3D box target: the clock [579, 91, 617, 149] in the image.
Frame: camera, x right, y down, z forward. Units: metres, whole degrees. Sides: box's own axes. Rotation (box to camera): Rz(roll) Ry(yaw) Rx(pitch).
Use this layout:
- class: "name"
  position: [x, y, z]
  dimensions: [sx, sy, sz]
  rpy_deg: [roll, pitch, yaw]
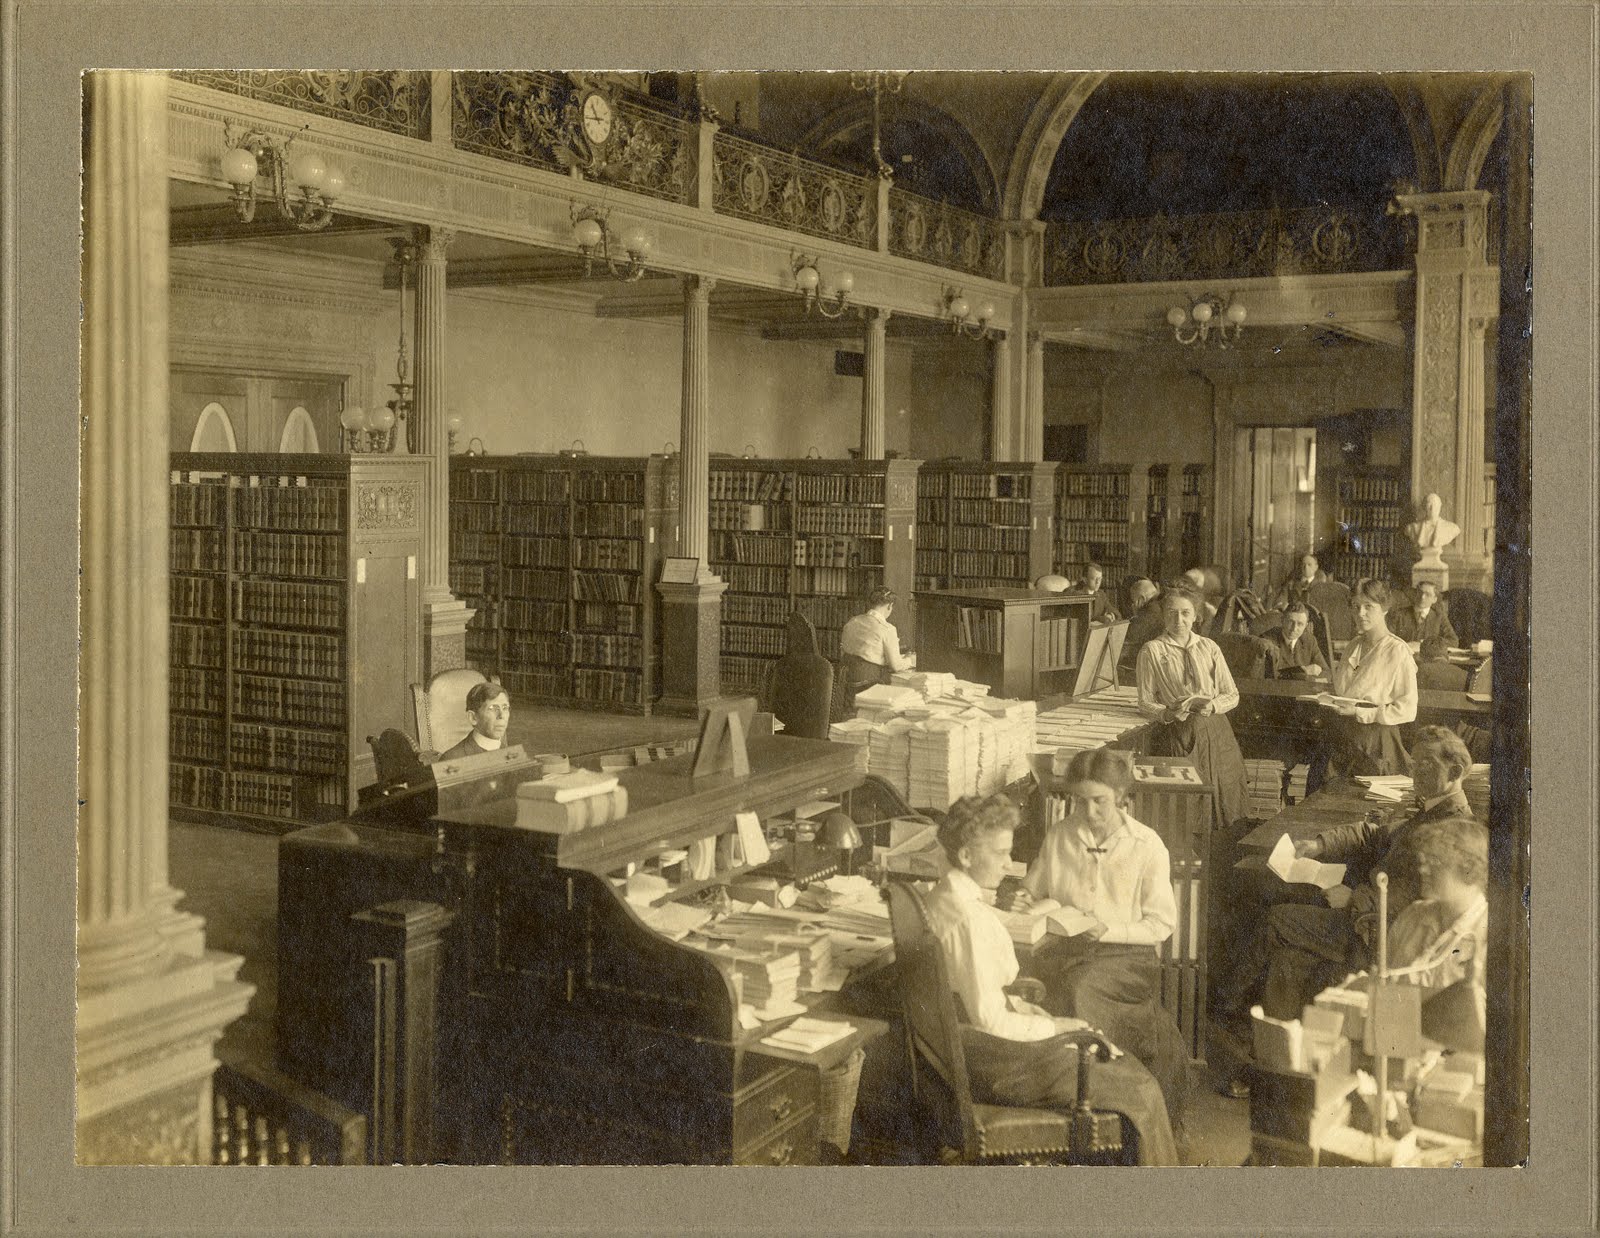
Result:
- class: "clock"
  position: [-1.282, -3.145, 10.920]
  dimensions: [0.033, 0.347, 0.322]
  rpy_deg: [6, 13, 31]

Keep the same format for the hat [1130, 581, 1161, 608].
- class: "hat"
  position: [2.531, -0.185, 12.798]
  dimensions: [0.148, 0.166, 0.194]
  rpy_deg: [6, 12, -9]

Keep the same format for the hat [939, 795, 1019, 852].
- class: "hat"
  position: [0.582, 0.677, 5.688]
  dimensions: [0.259, 0.189, 0.189]
  rpy_deg: [-1, 3, 6]

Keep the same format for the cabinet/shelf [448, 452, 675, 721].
- class: "cabinet/shelf"
  position: [-1.750, -0.238, 13.309]
  dimensions: [1.727, 1.821, 0.461]
  rpy_deg: [4, 7, 29]

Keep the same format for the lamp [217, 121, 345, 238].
- class: "lamp"
  position: [-2.652, -2.256, 8.874]
  dimensions: [0.604, 0.465, 0.587]
  rpy_deg: [-3, 4, -23]

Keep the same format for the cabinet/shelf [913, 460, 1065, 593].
- class: "cabinet/shelf"
  position: [1.548, -0.772, 14.806]
  dimensions: [1.020, 1.122, 0.381]
  rpy_deg: [0, 0, 26]

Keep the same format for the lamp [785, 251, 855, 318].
- class: "lamp"
  position: [0.154, -2.467, 13.088]
  dimensions: [0.409, 0.686, 0.445]
  rpy_deg: [1, 4, 39]

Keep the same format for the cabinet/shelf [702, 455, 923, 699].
- class: "cabinet/shelf"
  position: [0.102, -0.298, 13.233]
  dimensions: [1.666, 1.803, 0.579]
  rpy_deg: [1, 4, 16]

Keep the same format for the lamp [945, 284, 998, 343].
- class: "lamp"
  position: [1.431, -2.581, 15.218]
  dimensions: [0.289, 0.424, 0.595]
  rpy_deg: [-2, 4, 21]

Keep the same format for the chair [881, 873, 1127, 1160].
- class: "chair"
  position: [0.626, 1.270, 5.389]
  dimensions: [0.687, 0.939, 0.364]
  rpy_deg: [-1, 3, 7]

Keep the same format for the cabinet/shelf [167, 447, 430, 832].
- class: "cabinet/shelf"
  position: [-2.734, 0.124, 9.622]
  dimensions: [1.884, 2.066, 0.595]
  rpy_deg: [3, 5, 35]

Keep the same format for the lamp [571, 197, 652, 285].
- class: "lamp"
  position: [-1.247, -2.282, 11.128]
  dimensions: [0.328, 0.661, 0.633]
  rpy_deg: [-3, 3, 38]
